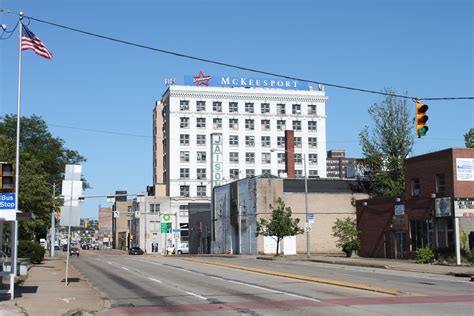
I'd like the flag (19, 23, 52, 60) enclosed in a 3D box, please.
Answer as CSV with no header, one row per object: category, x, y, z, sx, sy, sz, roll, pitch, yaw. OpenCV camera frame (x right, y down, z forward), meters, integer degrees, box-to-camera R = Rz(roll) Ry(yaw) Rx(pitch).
flag,-15.267,-8.870,57.726,2.554,2.630,0.220,5,-24,-31

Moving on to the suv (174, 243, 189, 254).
suv,-8.944,14.806,125.154,2.244,1.150,1.267,4,-9,-12

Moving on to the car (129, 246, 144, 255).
car,-16.109,14.593,121.296,2.097,1.142,2.040,0,-10,-11

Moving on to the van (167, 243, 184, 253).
van,-10.812,15.209,132.006,3.290,1.695,1.860,4,-11,-4
